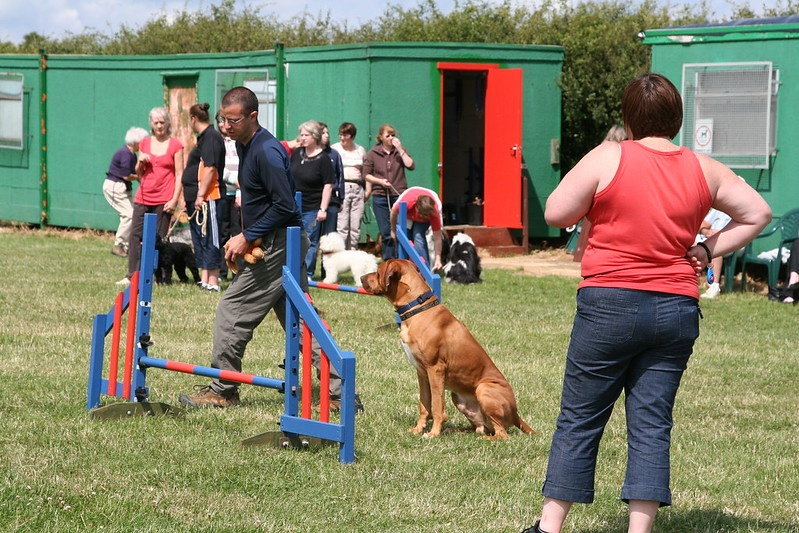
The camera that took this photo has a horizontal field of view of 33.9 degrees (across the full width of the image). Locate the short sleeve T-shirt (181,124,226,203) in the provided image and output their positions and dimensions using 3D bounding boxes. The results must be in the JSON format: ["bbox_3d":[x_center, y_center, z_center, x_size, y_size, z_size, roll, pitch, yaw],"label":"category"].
[{"bbox_3d":[-2.847,-1.328,19.254,0.707,1.499,1.279,3,5,-9],"label":"short sleeve T-shirt"}]

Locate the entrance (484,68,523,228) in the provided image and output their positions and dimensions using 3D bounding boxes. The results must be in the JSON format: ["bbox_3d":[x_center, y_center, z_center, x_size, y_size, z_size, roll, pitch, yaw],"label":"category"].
[{"bbox_3d":[1.812,-2.102,23.426,0.682,2.813,0.308,2,5,15],"label":"entrance"}]

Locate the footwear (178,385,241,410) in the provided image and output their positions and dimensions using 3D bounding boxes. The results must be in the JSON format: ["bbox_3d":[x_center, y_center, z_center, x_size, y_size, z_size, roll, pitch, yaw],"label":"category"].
[{"bbox_3d":[-2.196,1.528,15.128,0.670,0.364,0.279,3,-5,-8],"label":"footwear"}]

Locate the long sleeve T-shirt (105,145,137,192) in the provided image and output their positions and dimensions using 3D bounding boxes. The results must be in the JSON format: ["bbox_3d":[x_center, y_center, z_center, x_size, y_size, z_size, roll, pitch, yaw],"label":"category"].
[{"bbox_3d":[-4.657,-1.619,22.008,0.446,0.807,0.808,3,9,-13],"label":"long sleeve T-shirt"}]

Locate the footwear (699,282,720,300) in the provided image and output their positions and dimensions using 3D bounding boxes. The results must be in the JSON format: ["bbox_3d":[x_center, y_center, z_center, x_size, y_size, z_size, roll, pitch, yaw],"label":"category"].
[{"bbox_3d":[4.713,0.368,20.101,0.159,0.248,0.472,1,3,31],"label":"footwear"}]
